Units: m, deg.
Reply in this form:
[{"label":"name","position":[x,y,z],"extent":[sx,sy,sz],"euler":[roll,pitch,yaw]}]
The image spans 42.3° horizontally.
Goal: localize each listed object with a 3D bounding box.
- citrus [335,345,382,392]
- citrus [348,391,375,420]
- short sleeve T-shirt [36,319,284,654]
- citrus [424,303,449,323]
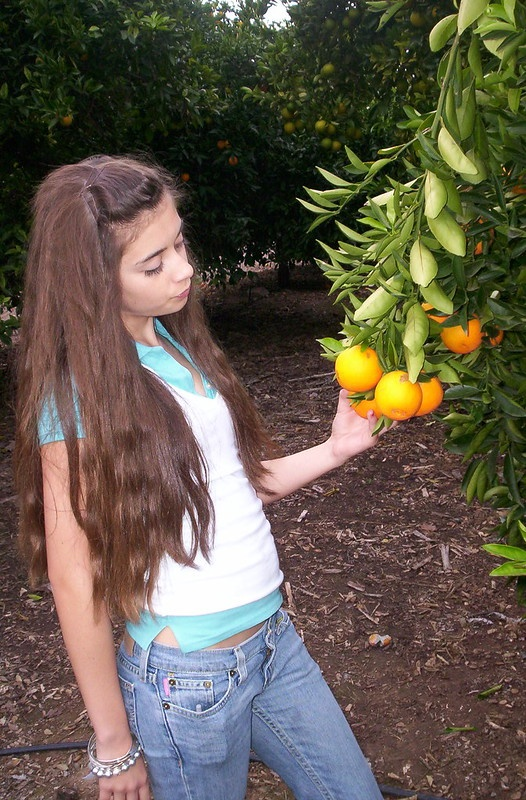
[{"label":"citrus","position":[0.155,-0.057,1.192],"extent":[0.079,0.073,0.088],"euler":[-3,6,-4]},{"label":"citrus","position":[0.195,0.009,1.281],"extent":[0.048,0.044,0.047],"euler":[-11,19,-26]},{"label":"short sleeve T-shirt","position":[-0.169,0.199,1.445],"extent":[0.558,0.640,0.287],"euler":[-16,14,-19]},{"label":"citrus","position":[0.281,-0.142,1.102],"extent":[0.038,0.038,0.098],"euler":[-3,10,15]}]
